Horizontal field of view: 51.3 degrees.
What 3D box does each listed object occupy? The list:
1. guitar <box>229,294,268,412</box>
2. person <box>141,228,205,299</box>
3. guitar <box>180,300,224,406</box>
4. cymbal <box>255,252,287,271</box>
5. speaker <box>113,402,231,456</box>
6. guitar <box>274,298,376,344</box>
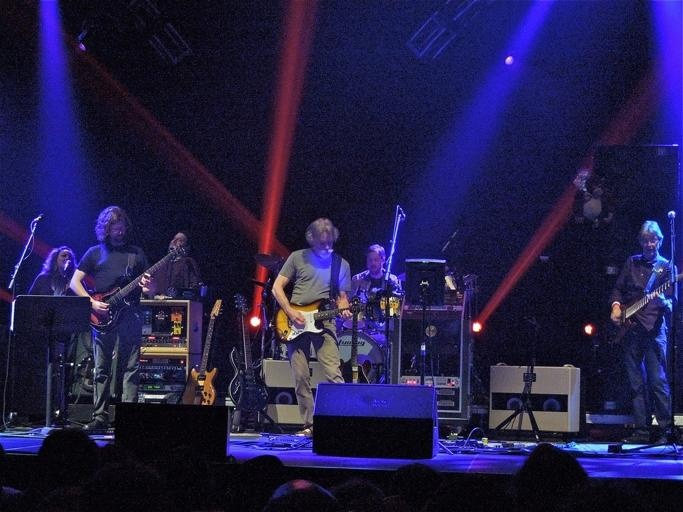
[{"bbox_3d":[-1.090,1.145,8.485,0.459,1.460,0.421,3,-15,-8],"label":"guitar"},{"bbox_3d":[-2.183,0.105,9.162,0.839,0.818,0.315,-1,-12,10],"label":"person"},{"bbox_3d":[-1.623,1.073,8.339,0.369,1.352,0.888,0,-16,5],"label":"guitar"},{"bbox_3d":[-0.875,0.018,8.838,0.270,0.067,0.274,24,-50,-12],"label":"cymbal"},{"bbox_3d":[-1.318,1.253,4.992,0.722,0.420,0.496,-1,-7,9],"label":"speaker"},{"bbox_3d":[-0.254,0.697,7.547,0.955,0.442,0.336,0,-16,4],"label":"guitar"}]
